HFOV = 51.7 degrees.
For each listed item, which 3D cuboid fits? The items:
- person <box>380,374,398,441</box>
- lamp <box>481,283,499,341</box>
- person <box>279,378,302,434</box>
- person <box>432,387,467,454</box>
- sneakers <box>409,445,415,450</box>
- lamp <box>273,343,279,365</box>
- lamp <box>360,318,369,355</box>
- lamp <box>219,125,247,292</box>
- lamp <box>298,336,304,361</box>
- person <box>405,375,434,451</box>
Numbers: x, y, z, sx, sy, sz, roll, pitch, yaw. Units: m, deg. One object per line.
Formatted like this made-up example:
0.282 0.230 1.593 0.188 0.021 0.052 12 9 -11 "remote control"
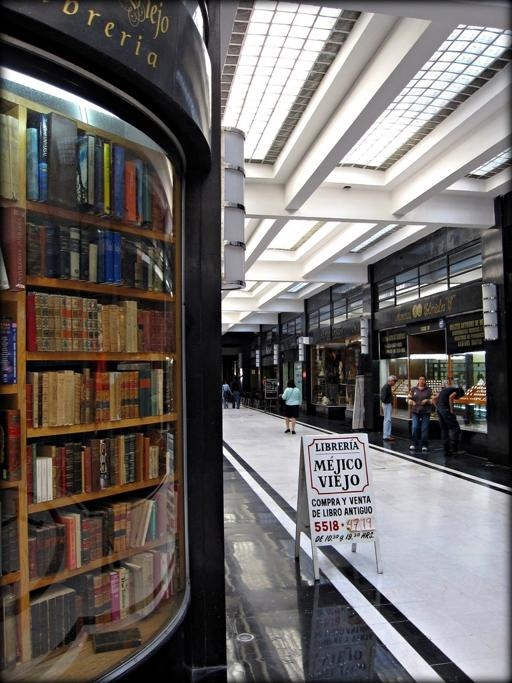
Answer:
3.142 1.575 12.444 0.338 1.491 1.438 -1 -4 15 "person"
3.883 -0.477 8.750 0.219 0.951 0.301 -2 -3 21 "lamp"
0.964 1.751 14.215 0.482 1.513 0.438 2 9 5 "person"
3.720 1.502 10.044 0.505 1.277 0.489 -1 -3 7 "person"
3.176 2.174 10.761 0.046 0.108 0.145 -7 -15 34 "sneakers"
0.974 0.657 25.832 0.240 1.018 0.569 0 -3 -5 "lamp"
2.946 -0.134 14.287 0.189 1.007 0.283 -3 -4 41 "lamp"
-0.161 -1.162 3.910 0.197 0.708 0.190 -3 11 -24 "lamp"
1.795 0.325 20.805 0.240 0.955 0.611 -1 -3 6 "lamp"
3.325 1.465 10.690 0.418 1.449 0.739 -1 -3 17 "person"
